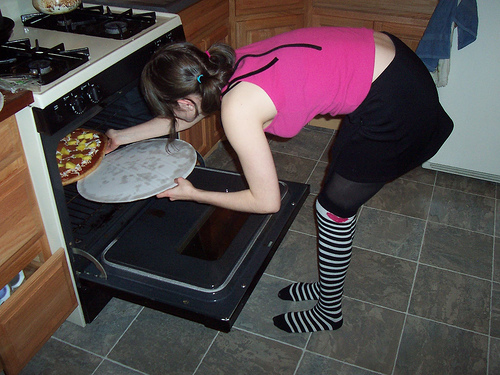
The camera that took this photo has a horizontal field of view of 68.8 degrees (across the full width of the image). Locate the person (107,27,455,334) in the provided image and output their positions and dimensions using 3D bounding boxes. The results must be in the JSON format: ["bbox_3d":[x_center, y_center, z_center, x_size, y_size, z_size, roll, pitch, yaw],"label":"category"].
[{"bbox_3d":[0.063,0.083,1.393,1.222,1.208,0.595,-2,34,7],"label":"person"}]
